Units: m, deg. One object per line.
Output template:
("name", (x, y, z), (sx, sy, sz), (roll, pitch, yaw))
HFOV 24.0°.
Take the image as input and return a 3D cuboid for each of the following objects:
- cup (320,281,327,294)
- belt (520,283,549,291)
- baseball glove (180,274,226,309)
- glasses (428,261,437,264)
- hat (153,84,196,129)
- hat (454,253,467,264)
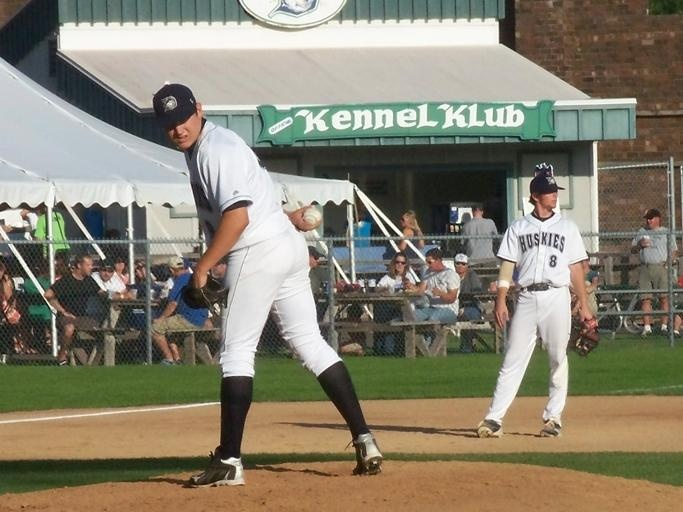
("cup", (-0.310, 0.516, 28.267), (0.156, 0.164, 0.132), (6, -9, -24))
("belt", (2.647, 0.400, 21.850), (0.396, 0.121, 0.057), (0, 11, 6))
("baseball glove", (-1.696, 0.435, 19.934), (0.474, 0.342, 0.361), (3, 13, -12))
("glasses", (1.548, 0.085, 27.585), (0.072, 0.061, 0.060), (1, -1, -10))
("hat", (-2.070, -1.957, 20.049), (0.429, 0.578, 0.332), (-18, -50, 18))
("hat", (2.078, 0.038, 27.815), (0.151, 0.221, 0.213), (2, -1, 1))
